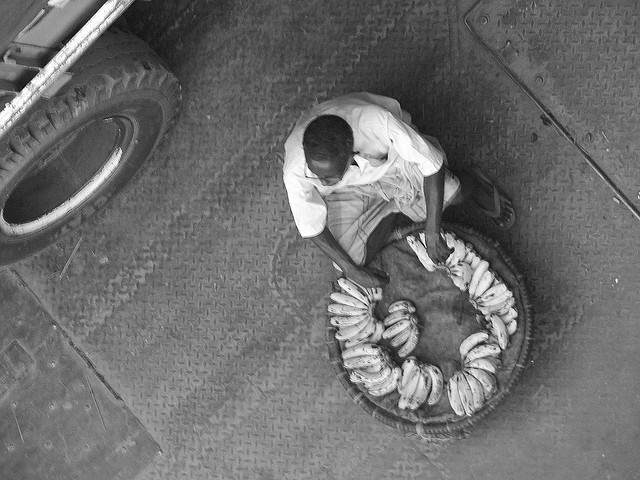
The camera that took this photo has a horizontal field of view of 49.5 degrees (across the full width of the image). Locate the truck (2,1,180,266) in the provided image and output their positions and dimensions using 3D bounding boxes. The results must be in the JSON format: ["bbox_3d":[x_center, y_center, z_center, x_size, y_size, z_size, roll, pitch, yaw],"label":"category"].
[{"bbox_3d":[-1.497,-0.809,4.299,1.167,1.574,1.463,-6,-1,-17],"label":"truck"}]

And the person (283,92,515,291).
[{"bbox_3d":[0.457,-0.408,4.427,1.127,1.268,1.336,-14,-25,32],"label":"person"}]

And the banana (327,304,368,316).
[{"bbox_3d":[0.193,0.450,4.582,0.193,0.062,0.054,4,4,1],"label":"banana"}]
